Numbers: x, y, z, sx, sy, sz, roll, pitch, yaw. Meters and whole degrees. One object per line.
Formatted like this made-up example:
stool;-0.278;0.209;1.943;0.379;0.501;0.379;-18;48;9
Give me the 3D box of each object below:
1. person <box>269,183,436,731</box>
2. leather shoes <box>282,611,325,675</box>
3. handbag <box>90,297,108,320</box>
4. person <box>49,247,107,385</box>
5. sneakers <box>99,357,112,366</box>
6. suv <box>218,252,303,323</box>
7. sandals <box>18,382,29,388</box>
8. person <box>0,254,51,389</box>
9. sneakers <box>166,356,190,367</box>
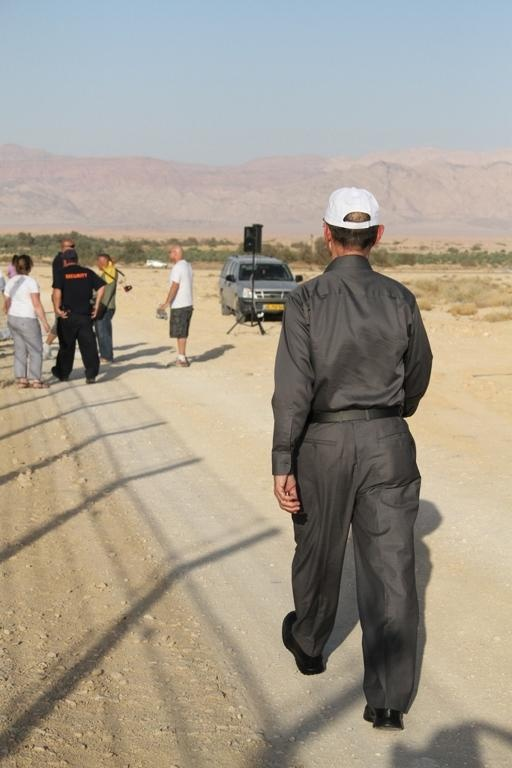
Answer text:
person;0.372;0.302;2.704;0.595;2.049;0.573;5;10;17
leather shoes;0.183;1.182;3.127;0.149;0.308;0.097;-12;-15;-31
handbag;-2.566;-1.157;11.360;0.302;0.325;0.380;0;2;-9
person;-2.621;-0.973;10.400;0.754;1.960;0.655;0;10;-13
sneakers;-2.705;-0.387;12.713;0.094;0.102;0.267;-2;-1;-34
suv;0.049;-2.707;20.700;2.218;1.565;3.855;-1;9;-12
sandals;-3.261;0.035;9.881;0.084;0.045;0.107;0;-20;-9
person;-3.245;-0.858;9.931;0.551;1.840;1.564;-1;10;-17
sneakers;-1.447;-0.386;12.701;0.487;0.199;0.181;5;8;28
